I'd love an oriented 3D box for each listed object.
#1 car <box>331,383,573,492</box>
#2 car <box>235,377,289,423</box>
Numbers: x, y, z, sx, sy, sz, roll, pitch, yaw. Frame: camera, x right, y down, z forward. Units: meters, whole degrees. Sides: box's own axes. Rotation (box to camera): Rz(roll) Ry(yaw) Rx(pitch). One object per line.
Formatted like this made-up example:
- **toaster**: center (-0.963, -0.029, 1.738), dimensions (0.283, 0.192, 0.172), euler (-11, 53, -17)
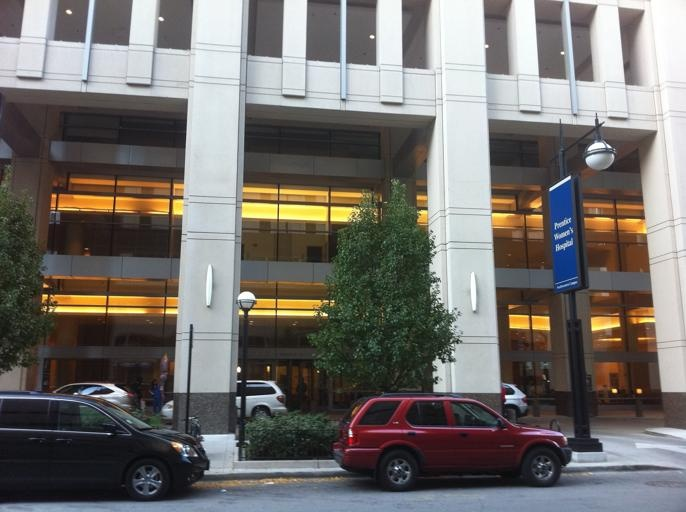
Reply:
- **car**: center (3.002, 4.891, 18.613), dimensions (5.768, 2.087, 2.564), euler (-1, -10, -5)
- **car**: center (-2.893, 6.119, 28.637), dimensions (3.181, 1.405, 1.678), euler (5, -12, -6)
